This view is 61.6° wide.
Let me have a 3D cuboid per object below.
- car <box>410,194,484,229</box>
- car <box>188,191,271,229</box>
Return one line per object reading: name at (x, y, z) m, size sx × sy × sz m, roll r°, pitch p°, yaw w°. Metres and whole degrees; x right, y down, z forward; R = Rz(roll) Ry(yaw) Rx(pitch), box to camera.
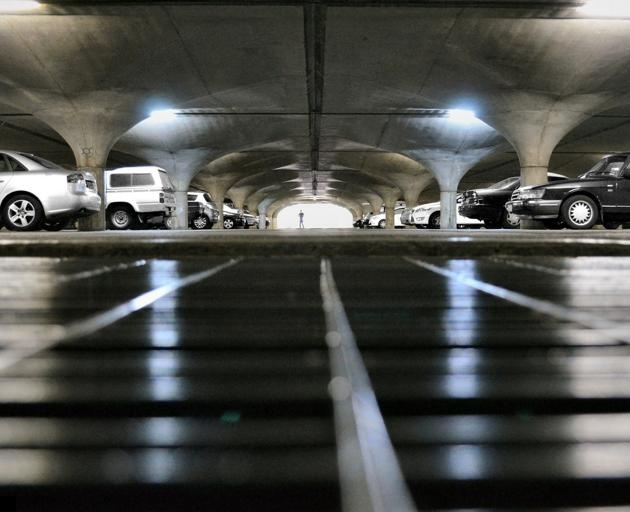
car at (5.065, -1.725, 21.080) m, size 3.621 × 0.962 × 1.407 m, roll 1°, pitch -1°, yaw -16°
car at (-3.281, -1.887, 21.816) m, size 3.565 × 1.178 × 1.694 m, roll -1°, pitch 3°, yaw -3°
